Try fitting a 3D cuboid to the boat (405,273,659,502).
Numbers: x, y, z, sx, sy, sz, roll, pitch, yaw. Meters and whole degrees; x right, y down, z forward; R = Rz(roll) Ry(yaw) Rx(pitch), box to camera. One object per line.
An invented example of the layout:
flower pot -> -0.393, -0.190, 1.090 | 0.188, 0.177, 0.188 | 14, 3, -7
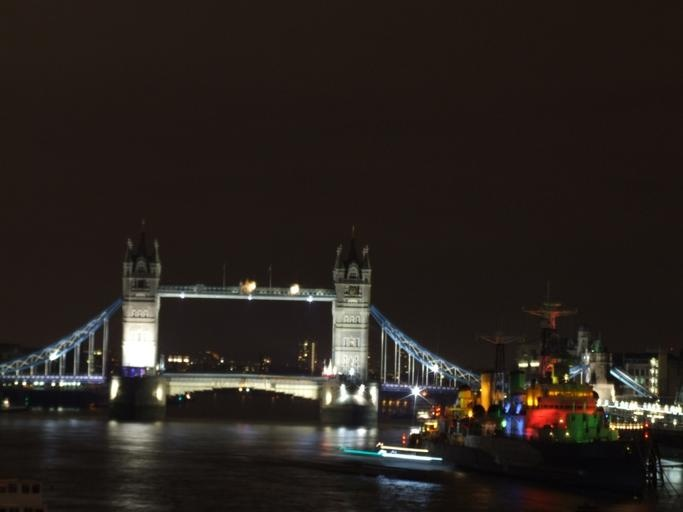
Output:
boat -> 12.914, 9.937, 69.001 | 8.458, 11.236, 27.914 | 2, -12, -25
